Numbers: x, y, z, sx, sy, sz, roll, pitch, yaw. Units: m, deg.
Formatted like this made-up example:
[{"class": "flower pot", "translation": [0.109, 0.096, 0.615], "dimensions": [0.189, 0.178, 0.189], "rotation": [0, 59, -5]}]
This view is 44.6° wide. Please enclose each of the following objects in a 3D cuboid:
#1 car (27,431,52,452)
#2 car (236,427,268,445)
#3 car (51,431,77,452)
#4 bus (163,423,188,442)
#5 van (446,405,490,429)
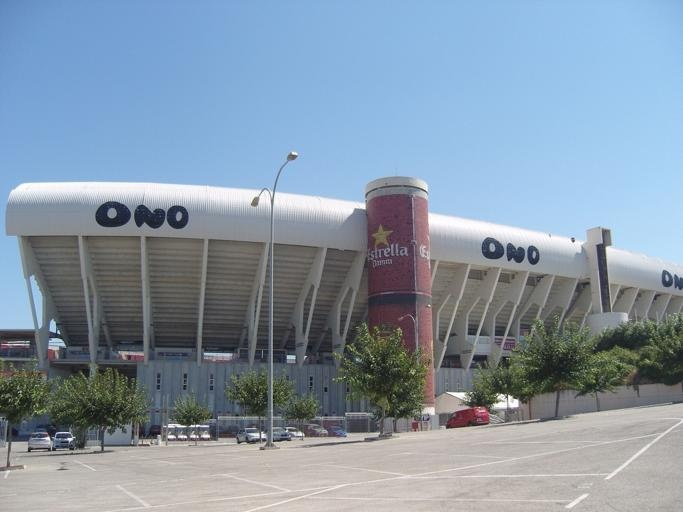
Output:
[{"class": "car", "translation": [-19.950, 12.270, 55.096], "dimensions": [1.530, 1.091, 1.777], "rotation": [4, -9, -21]}, {"class": "car", "translation": [-6.106, 12.134, 56.367], "dimensions": [0.973, 0.743, 1.670], "rotation": [10, -21, -36]}, {"class": "car", "translation": [-18.571, 12.295, 55.561], "dimensions": [0.998, 0.846, 1.911], "rotation": [3, -19, -18]}, {"class": "bus", "translation": [-11.846, 12.489, 59.002], "dimensions": [1.592, 1.153, 0.909], "rotation": [6, -10, -33]}, {"class": "van", "translation": [8.866, 11.230, 58.300], "dimensions": [2.586, 1.282, 1.522], "rotation": [-8, -12, 39]}]
